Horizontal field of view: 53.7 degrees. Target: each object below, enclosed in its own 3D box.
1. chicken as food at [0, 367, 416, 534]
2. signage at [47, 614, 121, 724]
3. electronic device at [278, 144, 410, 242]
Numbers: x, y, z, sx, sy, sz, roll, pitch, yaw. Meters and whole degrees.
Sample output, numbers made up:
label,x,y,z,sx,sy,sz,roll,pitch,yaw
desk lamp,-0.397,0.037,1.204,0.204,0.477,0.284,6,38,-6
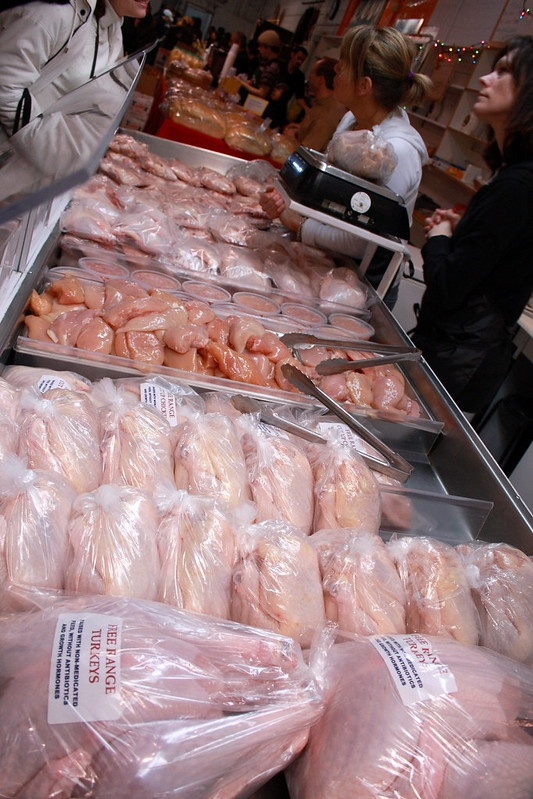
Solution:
label,x,y,z,sx,sy,sz,roll,pitch,yaw
chicken as food,-0.131,0.091,0.765,0.392,0.096,0.361,9,19,-24
signage,-0.163,0.243,0.478,0.061,0.027,0.093,11,35,-24
electronic device,0.242,-0.652,1.684,0.500,0.156,0.273,32,32,7
